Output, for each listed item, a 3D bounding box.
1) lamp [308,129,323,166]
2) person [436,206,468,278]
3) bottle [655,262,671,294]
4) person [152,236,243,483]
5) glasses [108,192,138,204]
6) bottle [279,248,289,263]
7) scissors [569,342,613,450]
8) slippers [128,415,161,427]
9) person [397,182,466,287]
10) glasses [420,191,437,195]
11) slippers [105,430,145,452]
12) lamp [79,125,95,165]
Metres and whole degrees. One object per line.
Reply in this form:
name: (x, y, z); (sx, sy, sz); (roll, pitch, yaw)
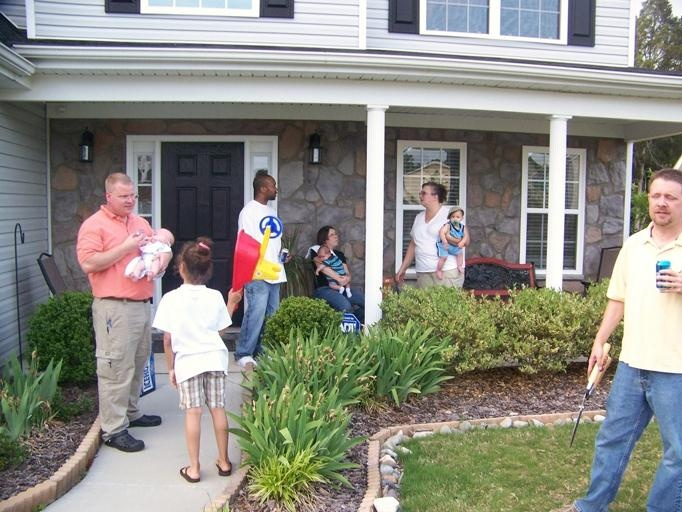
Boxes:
lamp: (-0.386, -1.541, 9.572); (0.177, 0.429, 0.172); (0, 13, 1)
person: (1.387, -0.159, 8.353); (0.424, 0.851, 0.272); (-3, 13, -10)
bottle: (2.493, 0.149, 5.160); (0.105, 0.236, 0.117); (6, 15, 27)
person: (-1.308, 0.935, 5.948); (0.668, 2.005, 0.591); (-4, 13, -14)
glasses: (-2.090, -0.518, 6.340); (0.166, 0.146, 0.146); (-8, 0, 40)
bottle: (-0.697, -0.004, 8.047); (0.095, 0.157, 0.102); (17, 34, -12)
scissors: (2.457, 1.386, 6.548); (0.238, 0.211, 1.514); (-32, 11, 45)
slippers: (-2.005, 1.656, 6.766); (0.287, 0.122, 0.121); (-4, 8, -9)
person: (1.119, 0.021, 8.451); (0.825, 1.855, 0.590); (0, 5, 26)
glasses: (1.081, -0.770, 8.265); (0.192, 0.086, 0.067); (4, 14, 18)
slippers: (-2.072, 1.752, 6.383); (0.331, 0.157, 0.183); (6, 2, 13)
lamp: (-3.567, -1.534, 9.311); (0.194, 0.474, 0.219); (-2, 13, -4)
